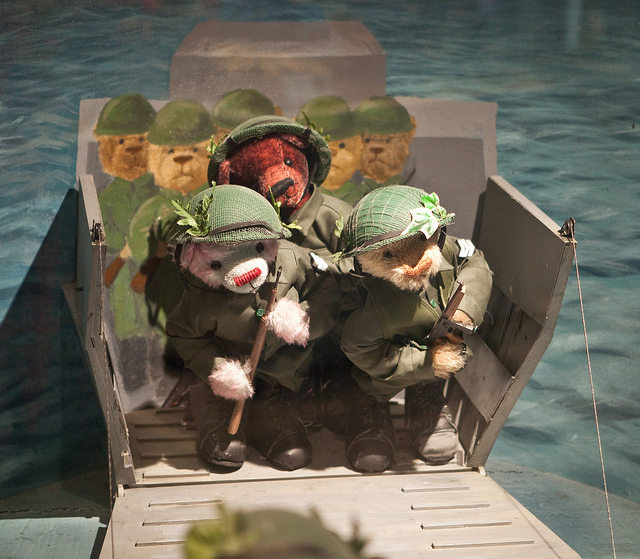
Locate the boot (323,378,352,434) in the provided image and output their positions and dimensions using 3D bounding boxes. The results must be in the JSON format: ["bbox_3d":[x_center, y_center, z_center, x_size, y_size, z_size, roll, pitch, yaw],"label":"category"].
[{"bbox_3d":[0.069,0.485,3.659,0.081,0.250,0.097,-2,8,8],"label":"boot"}]

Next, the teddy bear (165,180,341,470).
[{"bbox_3d":[-0.249,0.163,3.496,0.606,0.969,0.509,4,20,3],"label":"teddy bear"}]

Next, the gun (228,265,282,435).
[{"bbox_3d":[-0.236,0.241,3.398,0.051,0.659,0.057,21,1,17],"label":"gun"}]

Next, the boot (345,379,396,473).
[{"bbox_3d":[0.197,0.561,3.559,0.116,0.141,0.365,2,34,-1],"label":"boot"}]

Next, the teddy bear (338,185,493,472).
[{"bbox_3d":[0.354,0.176,3.442,0.576,0.986,0.499,-3,30,1],"label":"teddy bear"}]

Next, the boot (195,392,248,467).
[{"bbox_3d":[-0.375,0.558,3.635,0.201,0.246,0.562,11,5,-9],"label":"boot"}]

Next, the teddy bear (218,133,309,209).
[{"bbox_3d":[-0.183,-0.417,3.582,0.302,0.252,0.269,-32,-4,31],"label":"teddy bear"}]

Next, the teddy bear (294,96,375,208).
[{"bbox_3d":[0.033,-0.551,4.017,0.465,0.512,0.452,2,6,-8],"label":"teddy bear"}]
